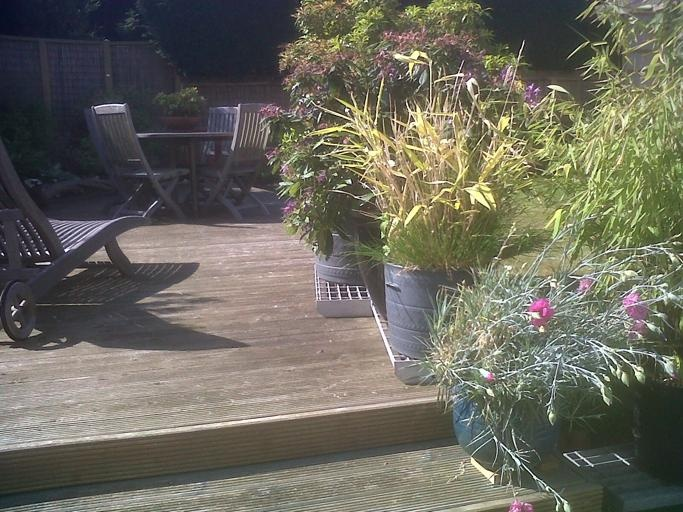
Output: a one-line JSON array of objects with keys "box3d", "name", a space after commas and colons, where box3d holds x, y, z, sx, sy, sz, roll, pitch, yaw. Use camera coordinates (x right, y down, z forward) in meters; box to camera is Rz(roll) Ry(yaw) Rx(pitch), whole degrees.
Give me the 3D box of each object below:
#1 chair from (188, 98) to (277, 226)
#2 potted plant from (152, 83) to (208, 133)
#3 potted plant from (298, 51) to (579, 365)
[{"box3d": [-1.452, -1.041, 5.653, 0.943, 1.139, 0.667, -16, 11, 24], "name": "chair"}, {"box3d": [-1.995, -1.794, 6.074, 0.624, 0.439, 0.448, 3, 14, 14], "name": "potted plant"}, {"box3d": [0.372, -0.148, 2.060, 0.978, 0.984, 0.784, 1, 8, -5], "name": "potted plant"}]
